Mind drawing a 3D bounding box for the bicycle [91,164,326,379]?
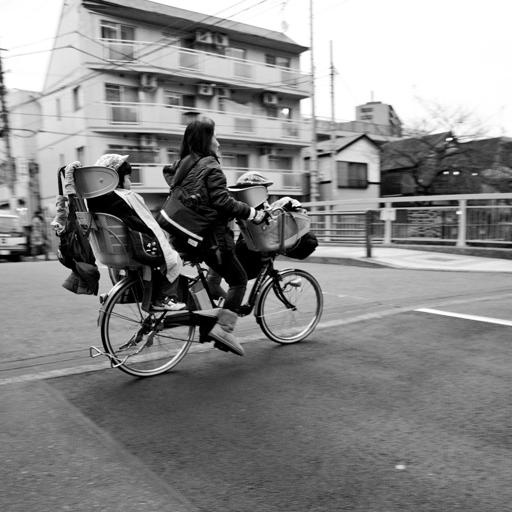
[{"bbox_3d":[-0.438,0.127,4.951,2.371,1.167,1.070,-7,12,-30],"label":"bicycle"}]

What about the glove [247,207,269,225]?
[{"bbox_3d":[0.005,-0.286,4.332,0.110,0.057,0.136,-5,8,-15],"label":"glove"}]

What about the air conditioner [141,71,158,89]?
[{"bbox_3d":[-4.726,-7.784,26.860,0.797,0.566,0.413,-5,16,-36],"label":"air conditioner"}]

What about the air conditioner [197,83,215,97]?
[{"bbox_3d":[-2.362,-7.914,28.956,0.744,0.550,0.635,11,25,6],"label":"air conditioner"}]

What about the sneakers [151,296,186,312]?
[{"bbox_3d":[-0.610,0.325,4.174,0.244,0.079,0.086,-2,12,-18],"label":"sneakers"}]

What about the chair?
[{"bbox_3d":[-0.881,-0.127,3.972,0.811,1.069,0.411,-4,8,-14],"label":"chair"}]

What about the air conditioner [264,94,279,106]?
[{"bbox_3d":[0.731,-8.139,31.729,0.859,0.606,0.406,-1,8,-18],"label":"air conditioner"}]
